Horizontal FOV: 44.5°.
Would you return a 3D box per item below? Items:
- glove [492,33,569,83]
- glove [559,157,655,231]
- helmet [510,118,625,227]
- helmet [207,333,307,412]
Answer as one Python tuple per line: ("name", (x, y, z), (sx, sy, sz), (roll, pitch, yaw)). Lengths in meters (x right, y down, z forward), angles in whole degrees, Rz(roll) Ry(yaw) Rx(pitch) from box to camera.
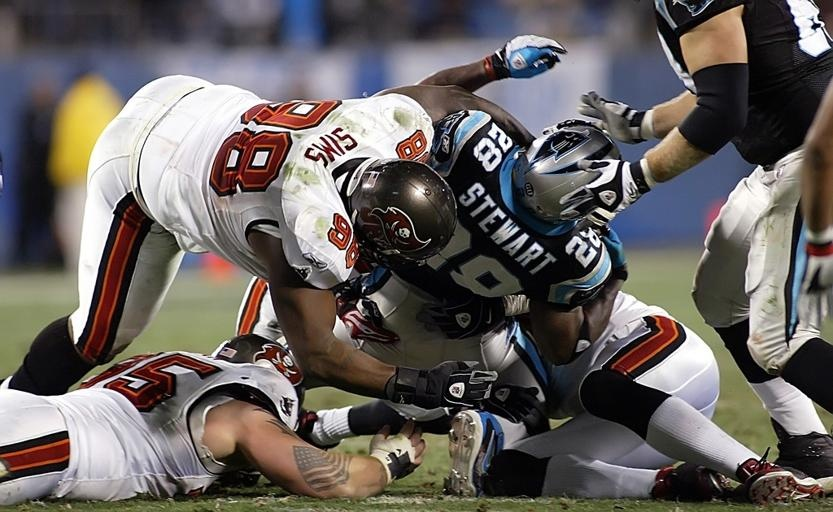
("glove", (0.654, -1.158, 5.985), (0.444, 0.210, 0.176), (-12, -19, 9))
("glove", (0.952, -0.345, 5.072), (0.385, 0.190, 0.304), (-28, 27, 26))
("helmet", (0.773, -0.408, 5.216), (0.535, 0.407, 0.413), (-40, -23, 3))
("helmet", (-0.789, 0.597, 5.083), (0.412, 0.320, 0.405), (2, -10, -7))
